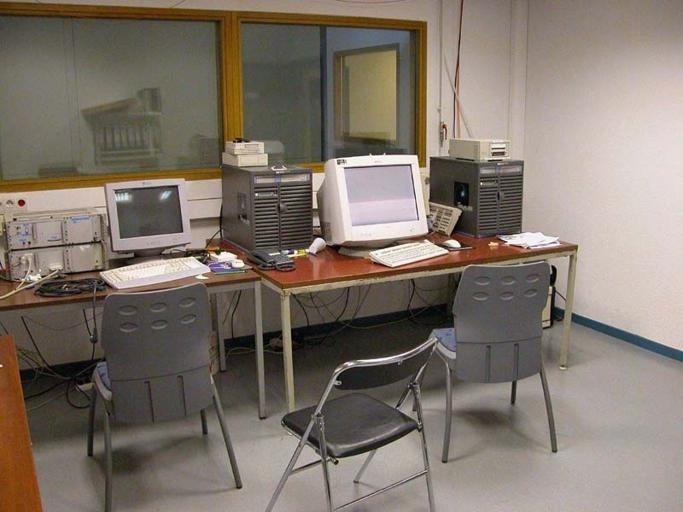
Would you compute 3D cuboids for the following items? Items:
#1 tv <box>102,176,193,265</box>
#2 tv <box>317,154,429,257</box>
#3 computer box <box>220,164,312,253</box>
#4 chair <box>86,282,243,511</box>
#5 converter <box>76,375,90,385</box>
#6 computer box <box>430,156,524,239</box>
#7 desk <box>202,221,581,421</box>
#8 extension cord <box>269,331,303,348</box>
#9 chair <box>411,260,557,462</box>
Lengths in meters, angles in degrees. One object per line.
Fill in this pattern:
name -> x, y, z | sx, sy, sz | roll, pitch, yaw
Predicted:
tv -> -1.232, -0.299, 3.451 | 0.472, 0.491, 0.272 | -8, 28, -23
tv -> 0.202, -0.365, 3.754 | 0.651, 0.607, 0.487 | -6, 6, -18
computer box -> -0.497, -0.393, 3.777 | 0.427, 0.560, 0.582 | -9, 24, -24
chair -> -0.925, 0.758, 2.783 | 0.698, 1.198, 0.755 | -4, 24, -20
converter -> -1.759, 0.836, 3.700 | 0.056, 0.047, 0.076 | -1, 14, -3
computer box -> 1.026, -0.477, 4.160 | 0.464, 0.547, 0.601 | -9, 16, -32
desk -> 0.602, 0.344, 3.751 | 1.778, 0.829, 1.031 | -8, 10, 13
extension cord -> -0.439, 0.664, 4.255 | 0.188, 0.068, 0.146 | 0, 1, 10
chair -> 0.832, 0.510, 3.196 | 0.652, 1.141, 0.740 | -4, 13, -5
